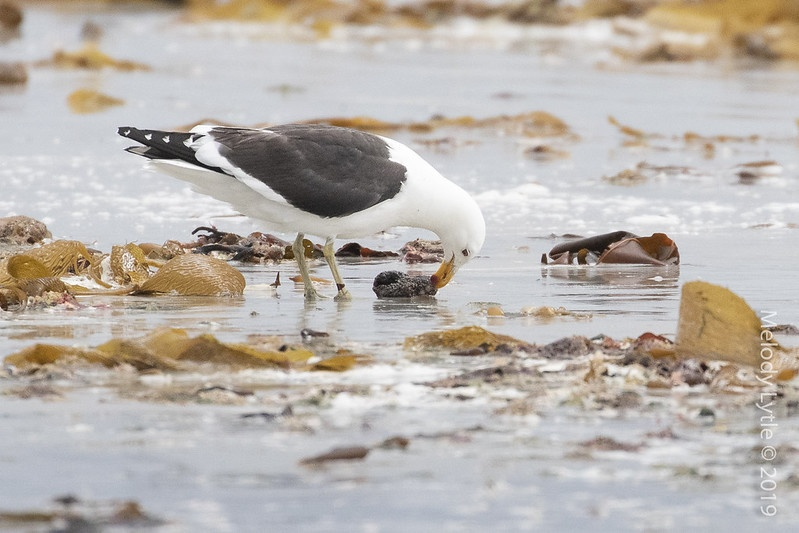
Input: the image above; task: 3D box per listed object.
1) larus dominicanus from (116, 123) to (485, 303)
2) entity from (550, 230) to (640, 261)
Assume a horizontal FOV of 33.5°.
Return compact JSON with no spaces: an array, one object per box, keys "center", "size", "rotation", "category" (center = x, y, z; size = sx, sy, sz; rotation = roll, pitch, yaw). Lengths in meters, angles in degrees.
[{"center":[-0.876,-0.939,16.121],"size":[5.328,1.573,1.586],"rotation":[11,10,-10],"category":"larus dominicanus"},{"center":[2.727,-0.294,19.138],"size":[1.223,0.414,0.529],"rotation":[2,14,6],"category":"entity"}]
